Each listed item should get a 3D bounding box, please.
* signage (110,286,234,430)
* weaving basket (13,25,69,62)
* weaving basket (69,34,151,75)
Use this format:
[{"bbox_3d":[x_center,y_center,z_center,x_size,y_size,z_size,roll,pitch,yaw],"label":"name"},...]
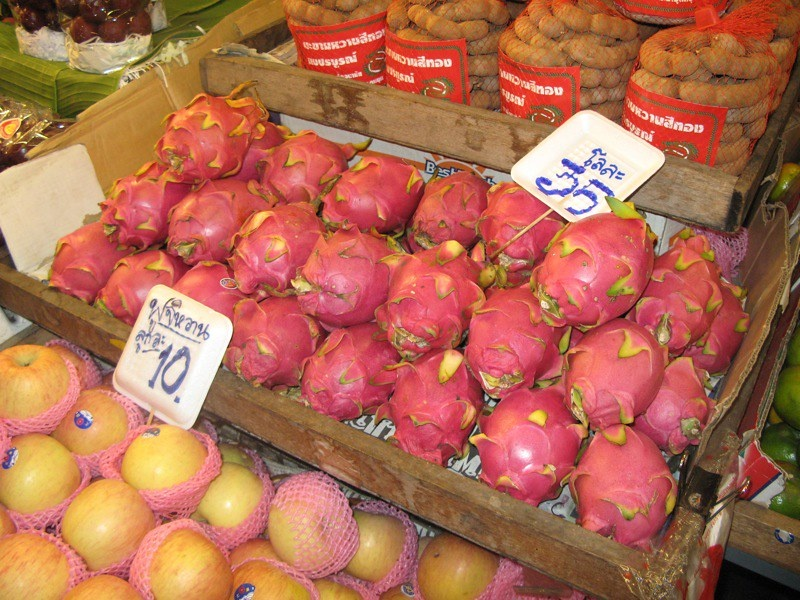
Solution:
[{"bbox_3d":[-0.627,0.177,1.924,0.401,0.114,0.405,30,99,21],"label":"signage"},{"bbox_3d":[-2.214,-1.587,3.876,0.262,0.203,0.263,19,35,32],"label":"weaving basket"},{"bbox_3d":[-1.710,-1.404,3.656,0.364,0.188,0.381,4,32,43],"label":"weaving basket"}]
